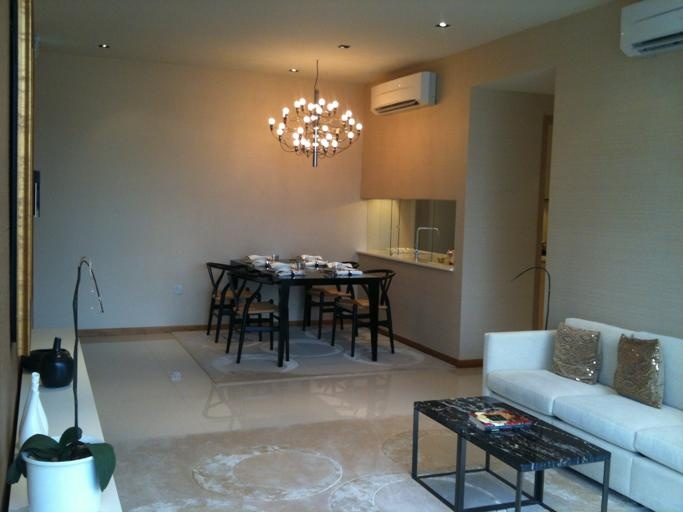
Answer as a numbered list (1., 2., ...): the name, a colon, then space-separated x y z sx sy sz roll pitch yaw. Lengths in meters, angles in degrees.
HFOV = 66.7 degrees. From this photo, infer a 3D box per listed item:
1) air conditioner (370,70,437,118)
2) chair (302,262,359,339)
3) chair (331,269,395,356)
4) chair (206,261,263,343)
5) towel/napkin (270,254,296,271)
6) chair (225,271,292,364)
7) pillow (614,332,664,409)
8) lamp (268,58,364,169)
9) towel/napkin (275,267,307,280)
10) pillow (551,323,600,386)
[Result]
1. air conditioner: 0.751 -2.017 6.505 0.215 0.399 1.008 -8 10 -32
2. chair: -0.032 0.619 7.056 0.667 1.047 0.795 -2 9 2
3. chair: 0.285 0.642 6.445 0.708 0.969 0.811 3 4 -11
4. chair: -1.398 0.597 6.674 0.603 0.981 0.814 1 7 -33
5. towel/napkin: -0.706 0.101 6.234 0.221 0.101 0.301 0 2 -19
6. chair: -0.993 0.678 6.034 0.645 1.005 0.656 0 5 -9
7. pillow: 2.018 0.798 3.509 0.165 0.451 0.375 17 -10 -20
8. lamp: -0.345 -1.934 7.018 1.010 1.509 1.022 -2 8 -14
9. towel/napkin: -0.568 0.188 5.823 0.340 0.092 0.420 1 6 -7
10. pillow: 1.793 0.764 3.946 0.168 0.447 0.353 32 -16 -32
